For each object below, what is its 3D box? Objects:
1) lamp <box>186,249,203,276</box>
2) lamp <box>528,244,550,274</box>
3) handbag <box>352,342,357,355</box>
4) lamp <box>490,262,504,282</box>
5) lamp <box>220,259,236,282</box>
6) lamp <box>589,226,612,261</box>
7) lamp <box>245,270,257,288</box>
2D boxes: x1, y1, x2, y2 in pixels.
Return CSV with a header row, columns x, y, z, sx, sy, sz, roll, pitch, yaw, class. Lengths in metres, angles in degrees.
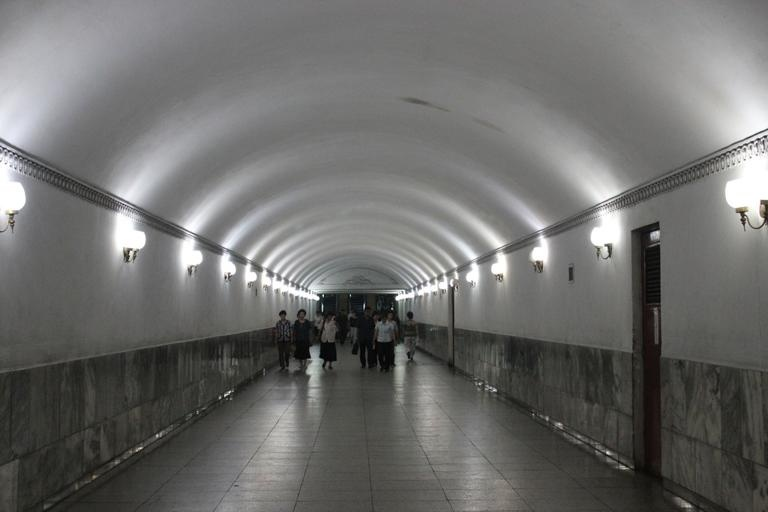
x,y,z,sx,sy,sz,roll,pitch,yaw,class
-3.965,0.143,10.054,0.217,0.523,0.607,1,-5,-13,lamp
3.330,0.054,10.251,0.292,0.765,0.538,3,-7,-22,lamp
-1.119,3.667,19.242,0.241,0.451,0.526,0,-5,-4,handbag
3.110,0.432,13.098,0.261,0.661,0.425,5,-10,-24,lamp
-4.150,0.383,12.813,0.411,0.694,0.403,-11,-9,34,lamp
3.523,-0.222,7.789,0.339,0.278,0.566,6,-44,34,lamp
-4.376,0.745,15.753,0.114,0.393,0.269,7,2,21,lamp
